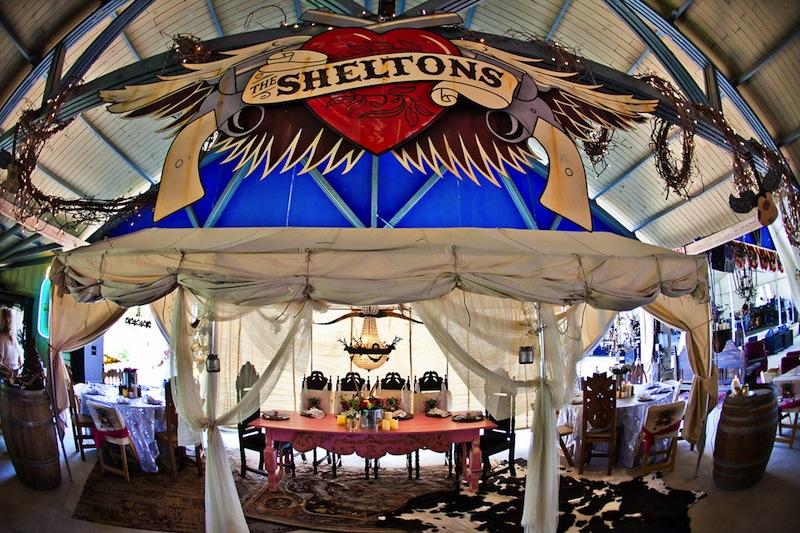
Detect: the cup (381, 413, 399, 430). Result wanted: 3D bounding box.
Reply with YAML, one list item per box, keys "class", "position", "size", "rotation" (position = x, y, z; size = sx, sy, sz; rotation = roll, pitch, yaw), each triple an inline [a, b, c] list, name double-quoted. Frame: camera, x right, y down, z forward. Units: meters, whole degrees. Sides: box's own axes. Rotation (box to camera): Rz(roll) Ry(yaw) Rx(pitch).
- class: "cup"
  position: [-0.134, 2.246, 8.240]
  size: [0.244, 0.184, 0.176]
  rotation: [5, -6, -41]

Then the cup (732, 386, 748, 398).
- class: "cup"
  position: [4.840, 1.763, 7.975]
  size: [0.150, 0.152, 0.154]
  rotation: [2, -6, 0]

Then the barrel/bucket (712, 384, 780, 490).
- class: "barrel/bucket"
  position: [4.880, 2.425, 7.939]
  size: [0.818, 1.398, 0.367]
  rotation: [-2, -9, 22]

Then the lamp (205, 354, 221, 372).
- class: "lamp"
  position: [-2.377, 1.222, 7.214]
  size: [0.220, 0.326, 0.198]
  rotation: [2, -12, -27]

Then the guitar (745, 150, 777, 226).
- class: "guitar"
  position: [4.572, -0.981, 7.095]
  size: [0.275, 0.873, 0.465]
  rotation: [-4, -10, 34]

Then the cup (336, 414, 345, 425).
- class: "cup"
  position: [-0.880, 2.282, 8.408]
  size: [0.107, 0.108, 0.103]
  rotation: [-2, -5, 0]

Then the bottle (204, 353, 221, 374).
- class: "bottle"
  position: [-2.358, 1.231, 7.212]
  size: [0.229, 0.346, 0.206]
  rotation: [1, -13, -14]

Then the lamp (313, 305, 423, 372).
- class: "lamp"
  position: [-0.414, 1.086, 8.973]
  size: [1.385, 1.060, 1.409]
  rotation: [1, -12, -5]
